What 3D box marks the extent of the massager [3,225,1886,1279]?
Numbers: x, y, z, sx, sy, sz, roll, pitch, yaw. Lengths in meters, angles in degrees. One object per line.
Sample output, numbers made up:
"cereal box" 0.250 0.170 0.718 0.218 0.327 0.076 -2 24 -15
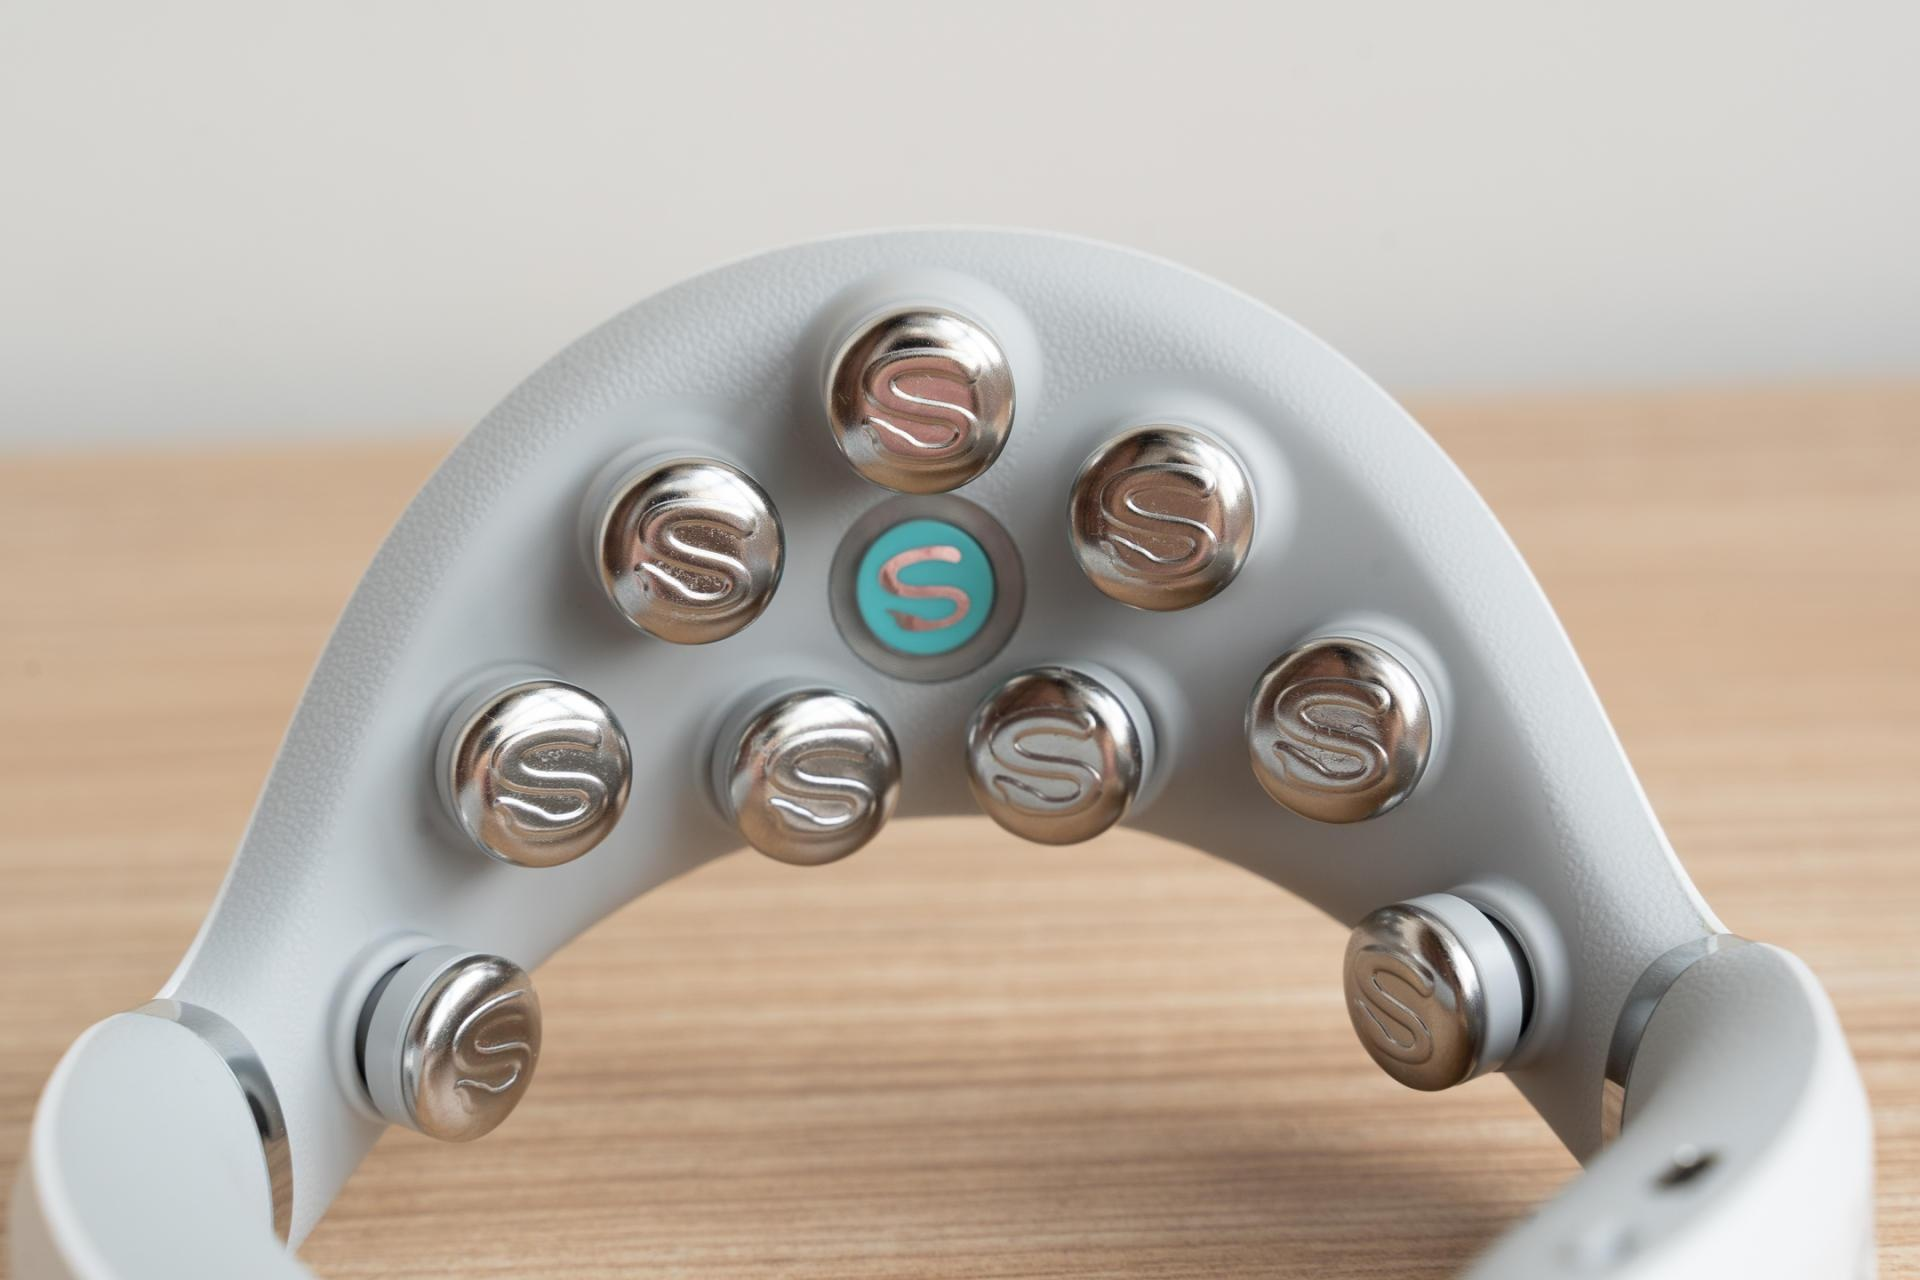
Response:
"massager" -0.003 0.038 0.774 0.585 0.343 0.232 -1 10 0
